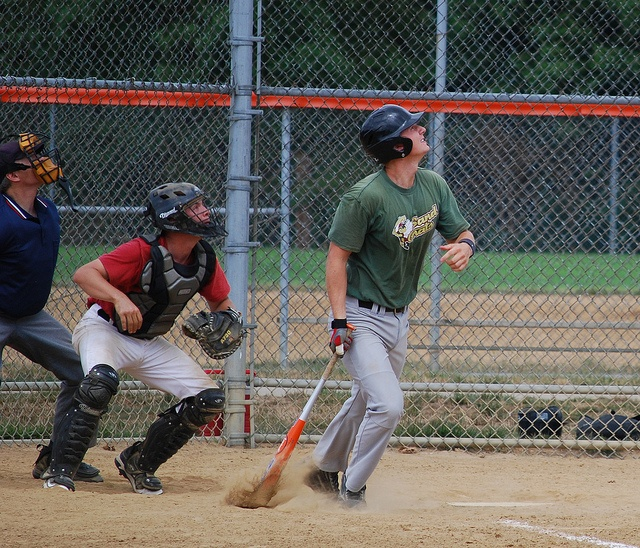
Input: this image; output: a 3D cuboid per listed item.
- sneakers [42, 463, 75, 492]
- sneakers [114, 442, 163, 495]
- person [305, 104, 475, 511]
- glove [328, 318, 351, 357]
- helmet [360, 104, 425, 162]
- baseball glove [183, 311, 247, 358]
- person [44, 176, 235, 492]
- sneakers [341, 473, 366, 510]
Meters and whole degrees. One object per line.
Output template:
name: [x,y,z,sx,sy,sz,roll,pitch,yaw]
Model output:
sneakers: [-1.640,1.290,6.923,0.248,0.118,0.104,-8,-17,44]
sneakers: [-1.177,1.279,7.183,0.194,0.331,0.121,-49,-14,23]
person: [0.492,0.186,7.040,0.879,2.487,0.613,-6,13,-34]
glove: [0.146,0.402,6.926,0.079,0.214,0.157,11,-18,-32]
helmet: [0.469,-0.910,6.951,0.388,0.286,0.283,-19,13,-9]
baseball glove: [-0.700,0.293,7.093,0.160,0.421,0.325,-36,-1,14]
person: [-1.095,0.429,7.062,1.244,1.996,0.407,-2,11,-14]
sneakers: [0.216,1.421,7.029,0.092,0.114,0.271,4,-10,-11]
